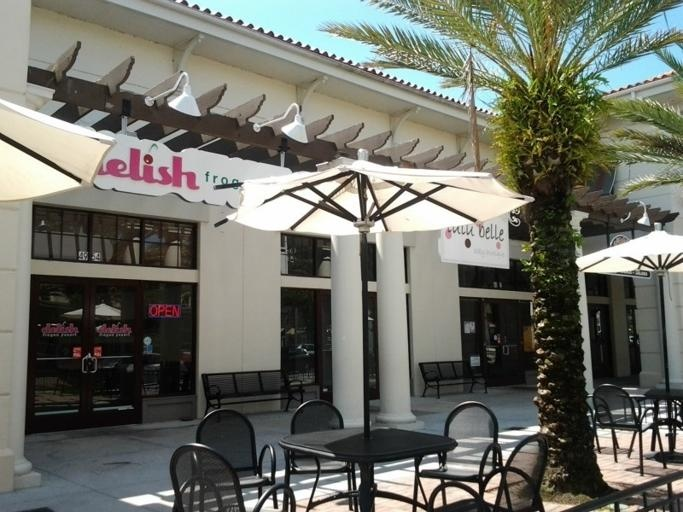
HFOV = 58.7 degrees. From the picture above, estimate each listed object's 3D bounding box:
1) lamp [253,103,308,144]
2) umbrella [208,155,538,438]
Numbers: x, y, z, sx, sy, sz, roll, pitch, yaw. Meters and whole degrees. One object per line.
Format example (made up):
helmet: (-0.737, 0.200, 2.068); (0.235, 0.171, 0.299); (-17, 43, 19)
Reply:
lamp: (-1.076, -2.414, 10.525); (0.952, 0.571, 0.428); (2, -13, 30)
umbrella: (0.303, 0.890, 11.311); (5.654, 5.115, 5.756); (7, -12, -29)
